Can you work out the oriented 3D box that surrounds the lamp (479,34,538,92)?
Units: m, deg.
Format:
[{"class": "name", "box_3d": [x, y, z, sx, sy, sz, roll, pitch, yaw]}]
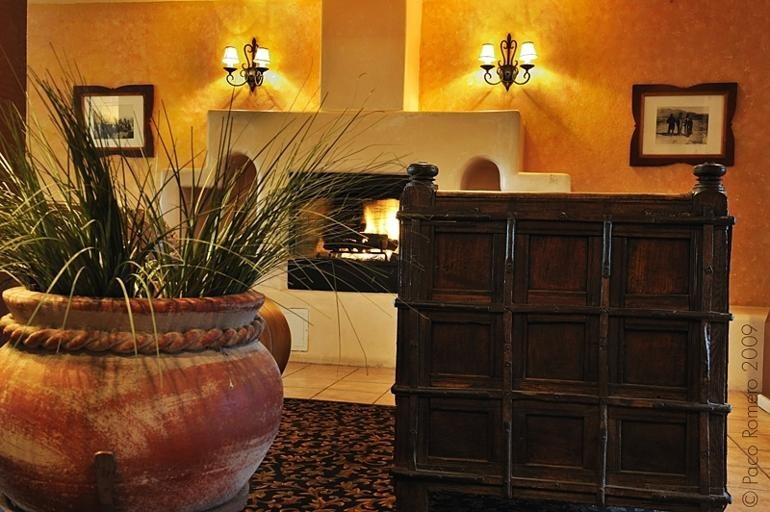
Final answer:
[{"class": "lamp", "box_3d": [1.109, -1.756, 6.197, 0.512, 0.454, 0.181, 4, 11, 16]}]
